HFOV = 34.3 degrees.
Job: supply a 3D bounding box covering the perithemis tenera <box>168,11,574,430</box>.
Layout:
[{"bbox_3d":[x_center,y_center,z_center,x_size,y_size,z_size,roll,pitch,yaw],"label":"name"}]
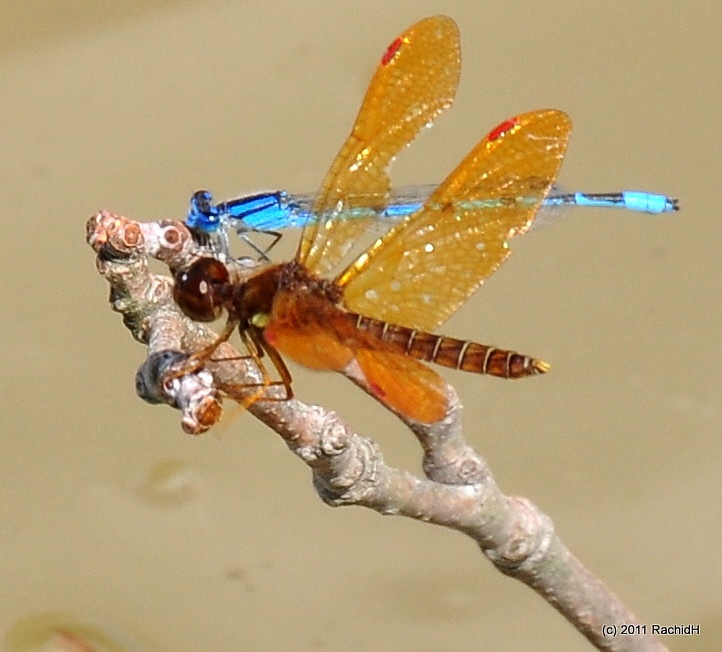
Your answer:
[{"bbox_3d":[0.174,-0.378,5.354,1.204,1.603,1.621,27,37,34],"label":"perithemis tenera"}]
